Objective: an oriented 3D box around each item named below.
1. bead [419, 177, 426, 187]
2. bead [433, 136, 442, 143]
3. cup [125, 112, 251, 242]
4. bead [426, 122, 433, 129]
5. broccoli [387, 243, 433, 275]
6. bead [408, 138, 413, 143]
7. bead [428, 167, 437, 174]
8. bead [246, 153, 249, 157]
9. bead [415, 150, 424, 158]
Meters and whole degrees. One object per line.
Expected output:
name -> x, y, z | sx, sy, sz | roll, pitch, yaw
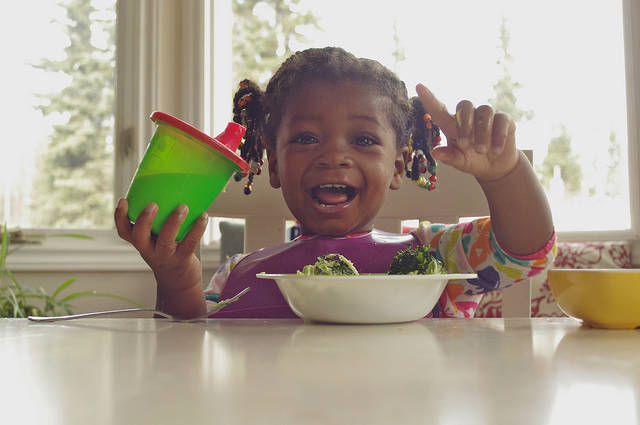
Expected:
bead -> 0.311, -0.094, 1.786 | 0.019, 0.025, 0.021 | 7, 34, -2
bead -> 0.354, -0.223, 1.777 | 0.010, 0.019, 0.034 | 8, 13, 38
cup -> -0.257, -0.060, 1.095 | 0.182, 0.223, 0.141 | 1, 0, -9
bead -> 0.322, -0.257, 1.732 | 0.021, 0.019, 0.013 | -5, 12, -26
broccoli -> 0.179, 0.096, 1.159 | 0.047, 0.069, 0.057 | 33, -45, -30
bead -> 0.269, -0.216, 1.748 | 0.005, 0.014, 0.020 | 5, 12, 25
bead -> 0.341, -0.126, 1.778 | 0.018, 0.012, 0.016 | 6, 12, 32
bead -> -0.225, -0.181, 1.829 | 0.007, 0.010, 0.003 | 0, -8, 22
bead -> 0.298, -0.176, 1.763 | 0.021, 0.015, 0.020 | 0, -5, -41
